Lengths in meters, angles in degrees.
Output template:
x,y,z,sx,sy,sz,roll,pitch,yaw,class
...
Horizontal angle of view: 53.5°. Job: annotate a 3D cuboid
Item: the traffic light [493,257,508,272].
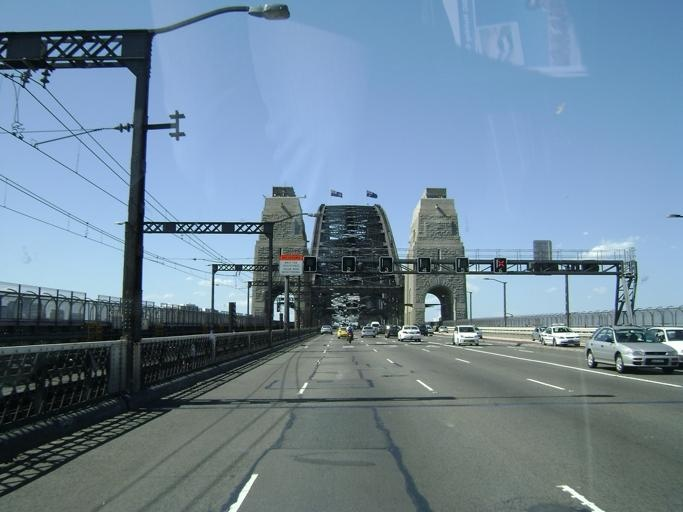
x,y,z,sx,sy,sz,roll,pitch,yaw,class
10.791,0.628,45.965,1.262,1.220,0.327,0,0,32,traffic light
